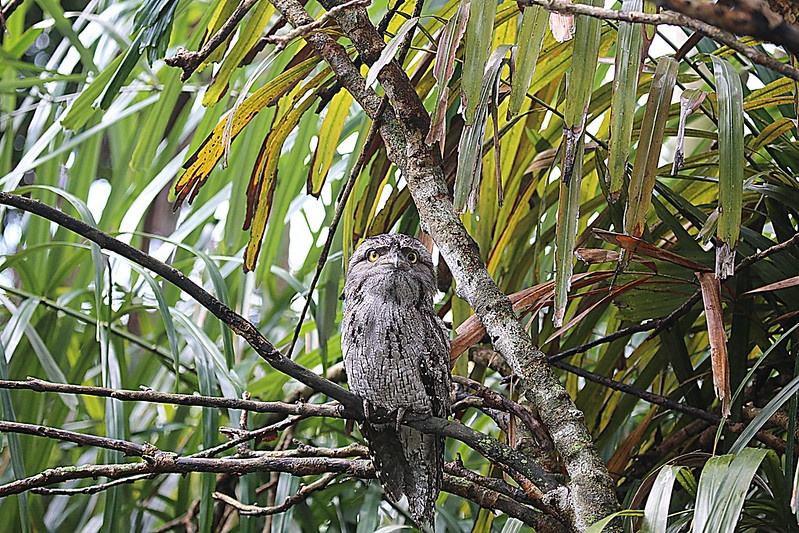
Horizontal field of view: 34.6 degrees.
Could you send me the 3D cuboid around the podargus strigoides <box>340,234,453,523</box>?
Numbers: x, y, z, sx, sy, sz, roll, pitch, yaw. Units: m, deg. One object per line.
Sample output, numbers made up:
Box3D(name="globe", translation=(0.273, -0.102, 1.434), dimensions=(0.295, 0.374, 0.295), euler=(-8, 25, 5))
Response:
Box3D(name="podargus strigoides", translation=(-0.007, 0.400, 4.611), dimensions=(0.391, 1.075, 0.460), euler=(-4, -28, 0))
